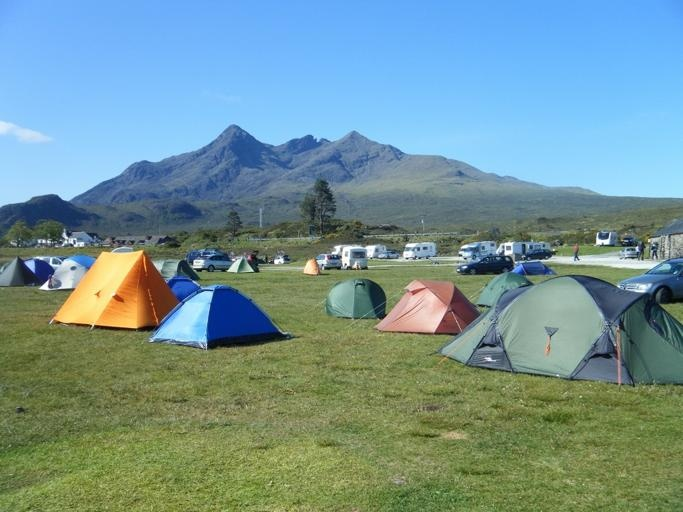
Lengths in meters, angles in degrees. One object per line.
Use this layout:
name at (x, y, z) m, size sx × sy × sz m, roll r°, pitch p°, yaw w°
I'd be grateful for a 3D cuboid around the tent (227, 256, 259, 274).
tent at (-7.437, 0.780, 51.109) m, size 2.020 × 0.749 × 1.727 m, roll -5°, pitch 6°, yaw -42°

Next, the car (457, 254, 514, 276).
car at (11.105, 0.668, 47.864) m, size 4.149 × 1.040 × 1.675 m, roll 0°, pitch -2°, yaw -17°

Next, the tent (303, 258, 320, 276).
tent at (-2.132, 0.888, 48.897) m, size 1.178 × 0.706 × 1.619 m, roll -1°, pitch -2°, yaw -13°

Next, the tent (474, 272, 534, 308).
tent at (6.383, 1.444, 26.418) m, size 2.405 × 0.963 × 2.271 m, roll -4°, pitch 4°, yaw -36°

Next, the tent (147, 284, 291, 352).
tent at (-3.785, 2.016, 20.329) m, size 2.720 × 1.038 × 2.663 m, roll -2°, pitch 1°, yaw -44°

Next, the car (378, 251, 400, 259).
car at (6.126, -0.150, 79.979) m, size 1.107 × 0.552 × 2.083 m, roll -3°, pitch -5°, yaw 34°

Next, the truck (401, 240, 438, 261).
truck at (9.579, -0.562, 77.081) m, size 4.140 × 1.936 × 1.568 m, roll -9°, pitch 15°, yaw -34°

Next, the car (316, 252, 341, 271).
car at (-1.270, 0.503, 58.739) m, size 1.579 × 0.762 × 2.382 m, roll -2°, pitch 5°, yaw -19°

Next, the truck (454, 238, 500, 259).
truck at (15.206, -0.664, 70.655) m, size 4.219 × 1.658 × 2.252 m, roll 1°, pitch -3°, yaw -30°

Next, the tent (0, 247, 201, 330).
tent at (-7.849, 1.124, 22.207) m, size 3.789 × 1.333 × 3.397 m, roll 2°, pitch 3°, yaw 18°
